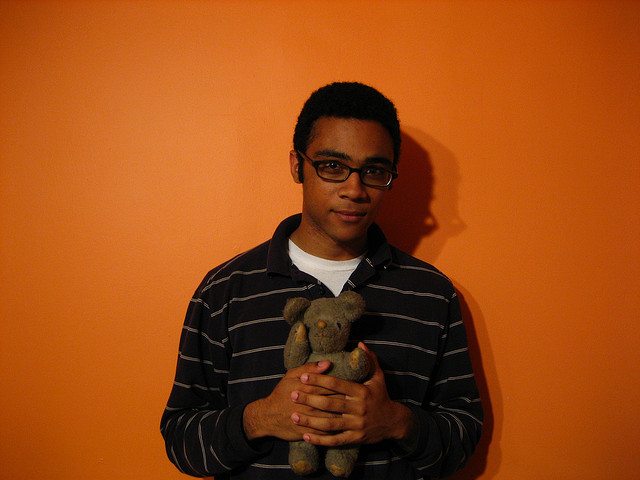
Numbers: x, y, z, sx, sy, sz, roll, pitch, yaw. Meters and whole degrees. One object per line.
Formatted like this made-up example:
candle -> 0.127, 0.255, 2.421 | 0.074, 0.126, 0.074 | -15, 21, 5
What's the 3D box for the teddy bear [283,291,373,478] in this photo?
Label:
teddy bear -> 0.005, 0.549, 2.647 | 0.379, 0.662, 0.322 | 12, -22, -18
